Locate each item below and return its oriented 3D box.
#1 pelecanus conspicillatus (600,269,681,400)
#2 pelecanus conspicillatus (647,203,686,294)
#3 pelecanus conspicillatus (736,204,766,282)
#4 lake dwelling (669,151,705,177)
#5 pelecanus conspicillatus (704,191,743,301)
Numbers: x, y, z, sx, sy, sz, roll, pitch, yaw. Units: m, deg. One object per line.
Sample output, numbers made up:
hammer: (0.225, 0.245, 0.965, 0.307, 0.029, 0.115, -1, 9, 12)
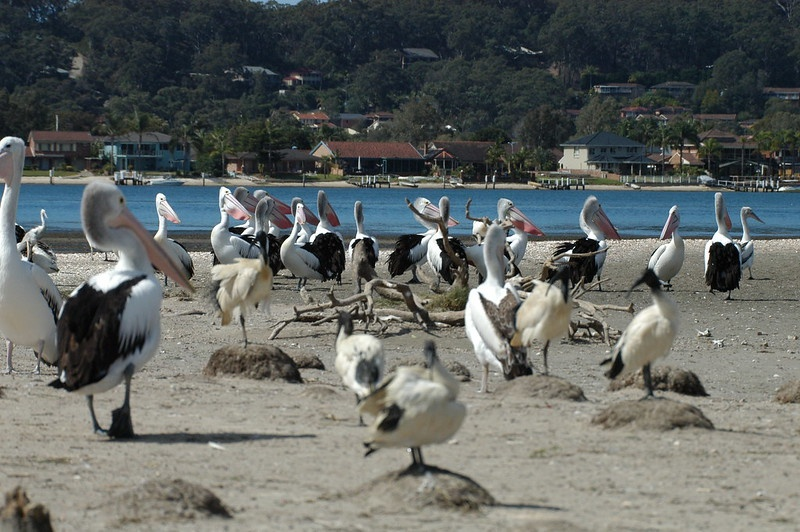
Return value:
pelecanus conspicillatus: (29.353, 8.384, 197.668, 11.439, 15.648, 5.892, -7, -2, 10)
pelecanus conspicillatus: (34.256, -2.348, 206.578, 4.412, 10.544, 10.034, 3, -1, -18)
pelecanus conspicillatus: (44.233, -2.949, 209.659, 8.075, 9.358, 3.553, -3, 1, -34)
lake dwelling: (55.945, -18.660, 318.482, 5.901, 3.336, 6.123, 1, 5, 20)
pelecanus conspicillatus: (41.306, -2.837, 208.427, 5.221, 12.537, 9.781, -2, 9, 12)
